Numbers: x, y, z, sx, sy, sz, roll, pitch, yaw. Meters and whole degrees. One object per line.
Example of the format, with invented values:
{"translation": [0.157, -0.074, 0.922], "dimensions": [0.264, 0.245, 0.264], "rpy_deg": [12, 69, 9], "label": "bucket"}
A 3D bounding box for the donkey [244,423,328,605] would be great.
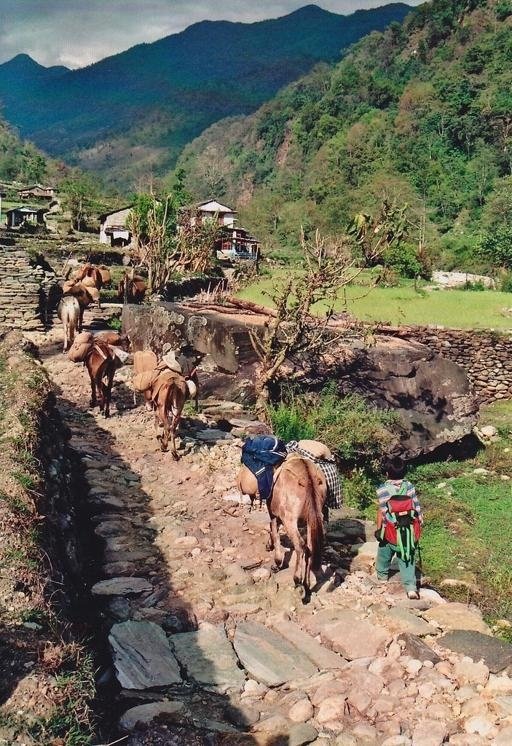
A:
{"translation": [0.305, 1.321, 7.074], "dimensions": [0.613, 1.295, 2.216], "rpy_deg": [2, 15, -23], "label": "donkey"}

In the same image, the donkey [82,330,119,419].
{"translation": [-3.093, 0.059, 13.536], "dimensions": [0.648, 1.472, 1.064], "rpy_deg": [1, 13, -14], "label": "donkey"}

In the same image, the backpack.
{"translation": [1.565, 1.623, 7.428], "dimensions": [0.474, 0.874, 0.429], "rpy_deg": [-1, 7, -24], "label": "backpack"}
